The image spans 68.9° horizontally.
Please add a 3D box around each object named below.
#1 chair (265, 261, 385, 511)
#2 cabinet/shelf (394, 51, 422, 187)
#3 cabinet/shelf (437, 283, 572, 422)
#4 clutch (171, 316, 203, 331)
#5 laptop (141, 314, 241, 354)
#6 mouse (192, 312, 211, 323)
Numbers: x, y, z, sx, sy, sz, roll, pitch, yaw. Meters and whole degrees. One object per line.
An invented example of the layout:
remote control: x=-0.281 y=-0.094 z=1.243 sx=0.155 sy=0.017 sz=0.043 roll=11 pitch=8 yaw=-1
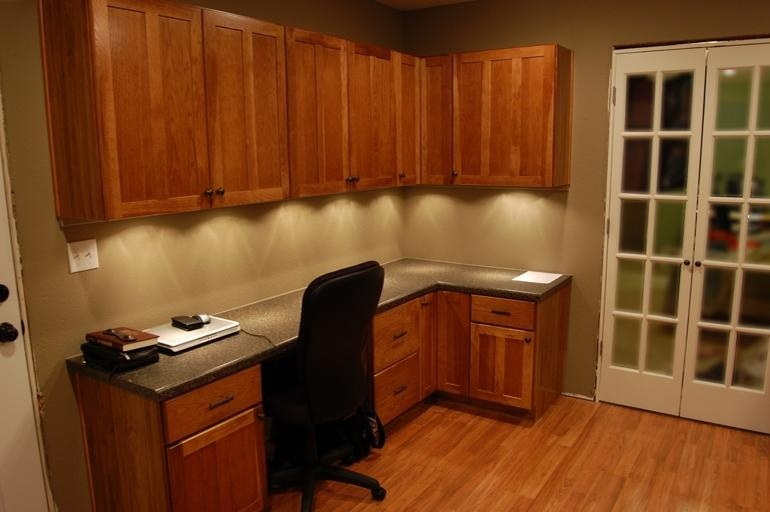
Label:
chair: x=-0.384 y=0.777 z=3.507 sx=0.769 sy=1.516 sz=0.636 roll=-4 pitch=14 yaw=-13
cabinet/shelf: x=0.194 y=-1.085 z=4.497 sx=0.116 sy=1.003 sz=0.357 roll=7 pitch=16 yaw=29
cabinet/shelf: x=0.920 y=0.667 z=4.746 sx=1.031 sy=1.377 sz=1.038 roll=2 pitch=3 yaw=31
clutch: x=-1.187 y=0.405 z=3.385 sx=0.135 sy=0.032 sz=0.094 roll=-2 pitch=8 yaw=-43
laptop: x=-1.159 y=0.450 z=3.409 sx=0.487 sy=0.091 sz=0.376 roll=-11 pitch=16 yaw=-38
mouse: x=-1.129 y=0.386 z=3.461 sx=0.052 sy=0.030 sz=0.086 roll=11 pitch=2 yaw=27
